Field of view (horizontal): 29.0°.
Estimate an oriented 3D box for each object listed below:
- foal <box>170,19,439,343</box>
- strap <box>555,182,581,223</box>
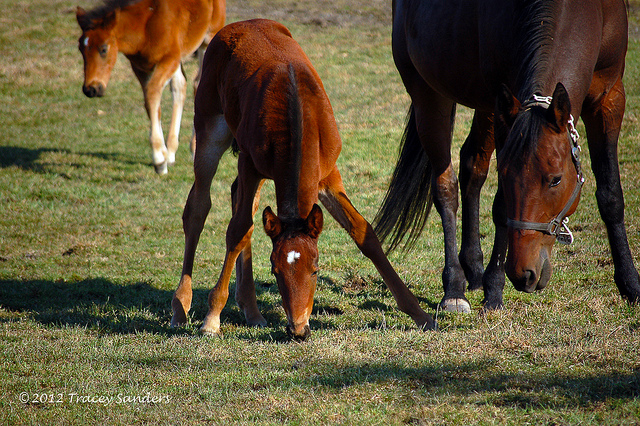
[{"bbox_3d":[-0.895,-0.472,20.078,3.610,4.620,2.373,16,22,42],"label":"foal"},{"bbox_3d":[3.807,-0.180,19.290,0.074,0.749,0.166,22,-22,10],"label":"strap"}]
